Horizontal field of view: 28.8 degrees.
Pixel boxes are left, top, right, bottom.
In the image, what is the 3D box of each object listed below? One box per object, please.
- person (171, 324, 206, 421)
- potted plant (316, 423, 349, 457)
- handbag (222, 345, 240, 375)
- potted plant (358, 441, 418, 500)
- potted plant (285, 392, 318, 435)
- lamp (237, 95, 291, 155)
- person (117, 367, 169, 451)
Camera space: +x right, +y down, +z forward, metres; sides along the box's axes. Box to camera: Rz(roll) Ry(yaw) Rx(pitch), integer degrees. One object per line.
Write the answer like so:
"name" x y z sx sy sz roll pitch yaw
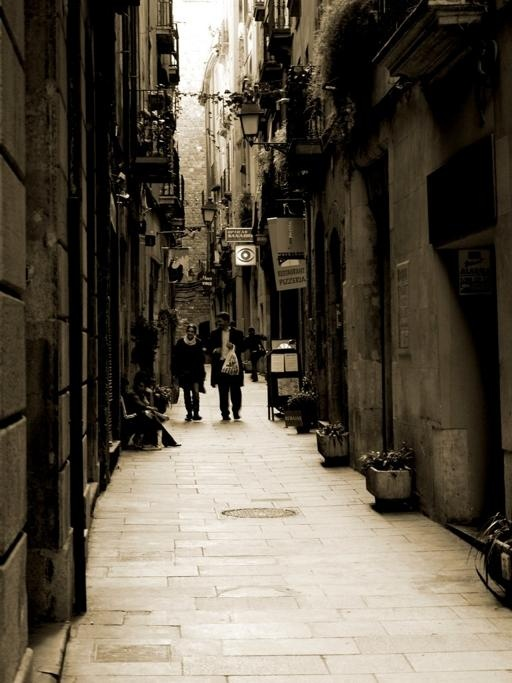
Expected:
"person" -1.210 0.602 18.165 0.499 1.993 0.462 4 21 9
"potted plant" 0.954 1.241 12.165 0.348 0.420 0.461 0 -3 -1
"handbag" -0.443 0.365 17.810 0.329 0.537 0.256 0 -3 -9
"potted plant" 1.210 1.209 8.987 0.443 0.480 0.540 0 -3 -5
"potted plant" 0.728 1.184 16.073 0.482 0.619 0.540 0 -3 3
"lamp" 0.040 -4.216 18.362 0.347 1.312 1.141 4 -1 28
"person" -1.600 1.055 14.248 0.622 0.993 1.286 0 -3 -5
